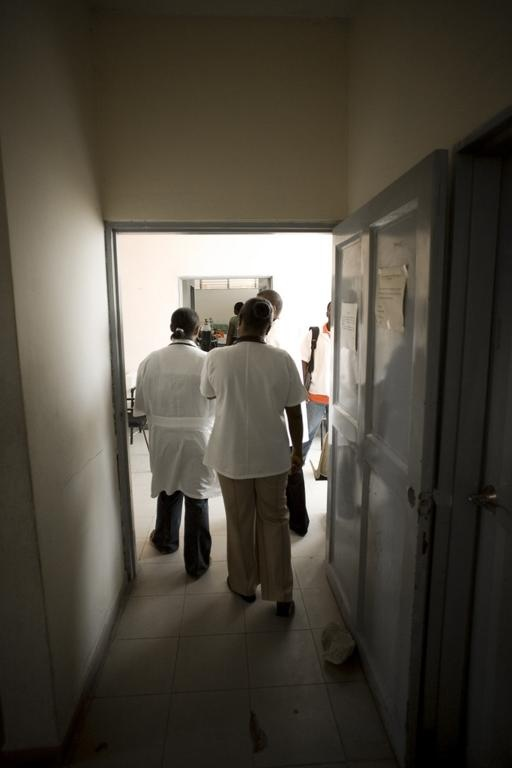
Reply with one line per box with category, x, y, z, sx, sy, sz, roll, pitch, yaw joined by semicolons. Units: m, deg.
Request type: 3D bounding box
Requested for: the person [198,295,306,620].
person;-0.012;0.314;2.217;0.417;1.313;0.229;-2;7;-9
